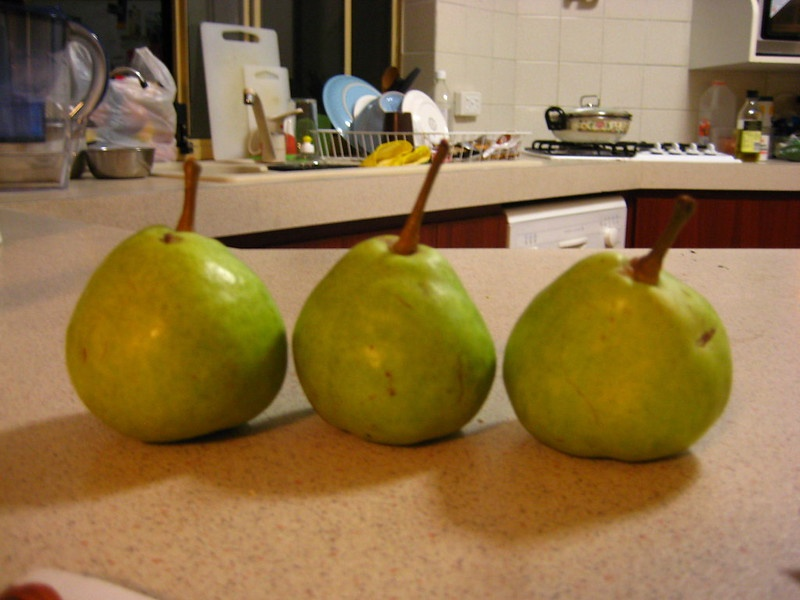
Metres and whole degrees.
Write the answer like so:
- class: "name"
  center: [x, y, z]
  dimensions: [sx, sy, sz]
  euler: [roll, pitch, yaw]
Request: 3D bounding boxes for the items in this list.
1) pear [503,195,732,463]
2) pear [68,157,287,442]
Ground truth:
- class: "pear"
  center: [0.098, 0.006, 0.304]
  dimensions: [0.084, 0.132, 0.079]
  euler: [14, 33, 31]
- class: "pear"
  center: [-0.098, -0.002, 0.315]
  dimensions: [0.082, 0.127, 0.080]
  euler: [-3, 22, -31]
